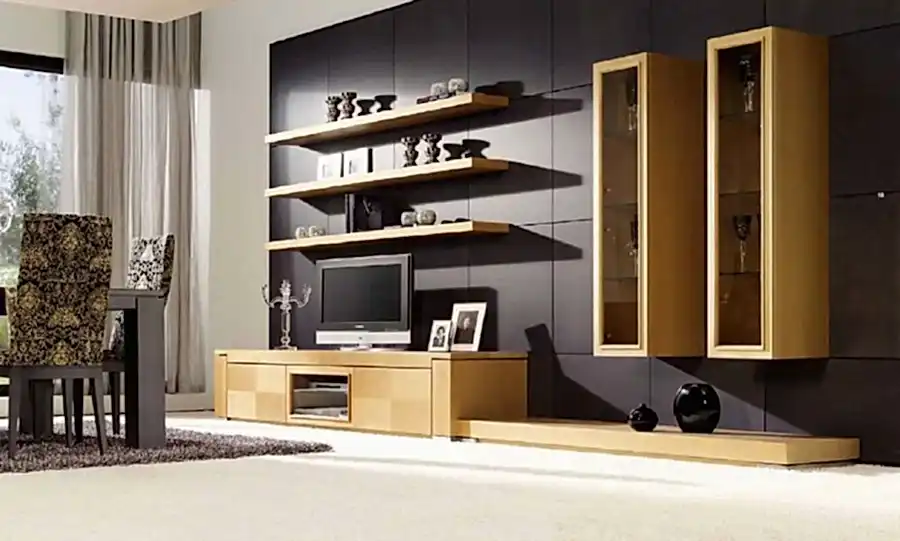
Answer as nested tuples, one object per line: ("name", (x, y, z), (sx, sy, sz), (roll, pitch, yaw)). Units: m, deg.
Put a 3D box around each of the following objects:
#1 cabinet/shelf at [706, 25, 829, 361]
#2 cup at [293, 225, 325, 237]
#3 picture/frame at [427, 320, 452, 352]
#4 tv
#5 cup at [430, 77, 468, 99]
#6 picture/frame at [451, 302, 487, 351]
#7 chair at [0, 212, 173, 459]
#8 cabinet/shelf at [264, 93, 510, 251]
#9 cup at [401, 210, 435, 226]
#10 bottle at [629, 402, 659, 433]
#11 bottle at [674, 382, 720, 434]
("cabinet/shelf", (2.046, -0.482, 4.643), (0.760, 2.065, 0.350), (-1, -3, 17))
("cup", (-1.381, -0.384, 7.181), (0.167, 0.088, 0.229), (-1, 2, -41))
("picture/frame", (-0.080, 0.555, 6.173), (0.023, 0.301, 0.271), (23, -21, -39))
("tv", (-0.783, 0.285, 6.649), (1.155, 0.818, 0.313), (-2, -4, 41))
("cup", (-0.018, -1.550, 6.216), (0.188, 0.086, 0.272), (-2, 3, -37))
("picture/frame", (0.161, 0.465, 6.061), (0.413, 0.474, 0.037), (-2, -15, 42))
("chair", (-2.513, 0.413, 4.842), (0.675, 1.524, 0.830), (-3, -4, 44))
("cabinet/shelf", (-0.715, -0.867, 6.907), (2.779, 1.132, 0.592), (-1, 0, 40))
("cup", (-0.288, -0.454, 6.407), (0.160, 0.074, 0.211), (0, 0, -39))
("bottle", (1.329, 0.999, 4.966), (0.183, 0.165, 0.183), (-1, -2, 23))
("bottle", (1.587, 0.902, 4.899), (0.319, 0.353, 0.312), (-1, 1, -6))
